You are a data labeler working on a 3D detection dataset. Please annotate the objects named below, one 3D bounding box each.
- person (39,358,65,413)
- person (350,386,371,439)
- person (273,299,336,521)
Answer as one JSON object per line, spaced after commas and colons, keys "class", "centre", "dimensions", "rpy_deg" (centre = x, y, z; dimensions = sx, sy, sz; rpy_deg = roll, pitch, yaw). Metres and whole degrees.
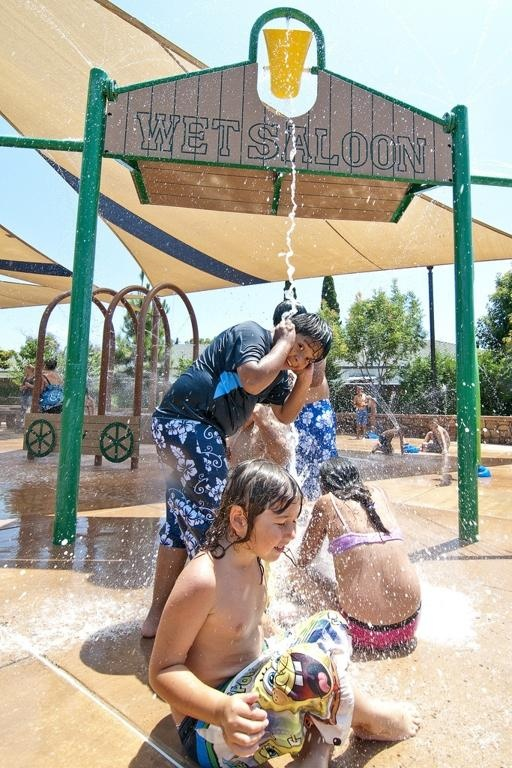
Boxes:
{"class": "person", "centre": [-2.977, 0.116, 8.350], "dimensions": [0.322, 1.103, 0.362], "rpy_deg": [-15, 39, -38]}
{"class": "person", "centre": [3.133, 0.811, 17.003], "dimensions": [0.366, 1.569, 1.996], "rpy_deg": [0, -5, 9]}
{"class": "person", "centre": [0.408, 0.139, 3.947], "dimensions": [0.340, 1.168, 0.320], "rpy_deg": [-13, 3, -6]}
